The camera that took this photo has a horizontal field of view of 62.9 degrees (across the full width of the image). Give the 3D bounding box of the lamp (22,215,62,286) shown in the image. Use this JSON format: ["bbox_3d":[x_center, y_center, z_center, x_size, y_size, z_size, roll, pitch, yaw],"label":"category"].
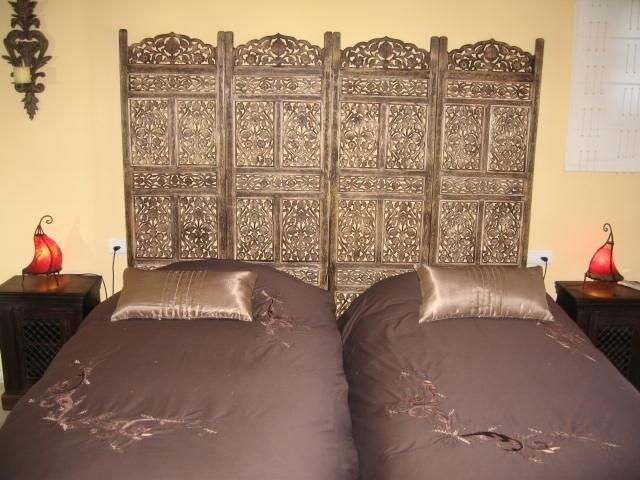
[{"bbox_3d":[-2.100,0.037,3.946,0.294,0.461,0.304,8,10,44],"label":"lamp"}]

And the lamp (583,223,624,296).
[{"bbox_3d":[2.203,0.113,4.056,0.258,0.479,0.275,4,6,25],"label":"lamp"}]

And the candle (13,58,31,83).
[{"bbox_3d":[-2.216,-1.262,3.905,0.108,0.170,0.048,3,11,7],"label":"candle"}]
